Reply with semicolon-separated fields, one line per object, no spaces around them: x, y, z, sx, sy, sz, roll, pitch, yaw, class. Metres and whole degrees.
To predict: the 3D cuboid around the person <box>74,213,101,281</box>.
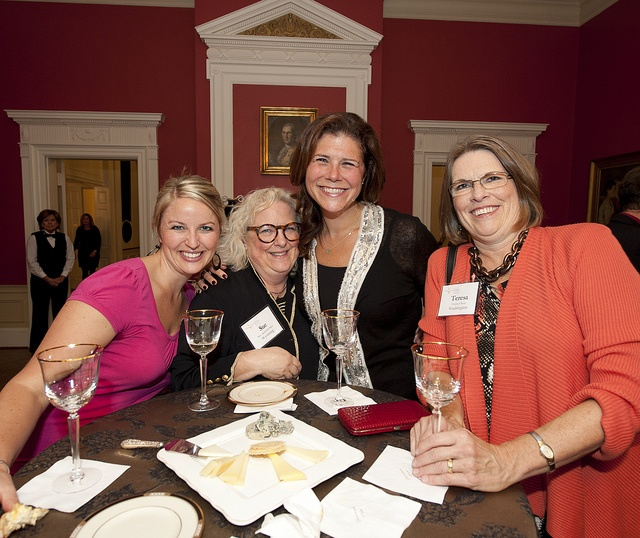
-4.080;-0.269;8.797;0.381;1.386;0.379;-4;18;-28;person

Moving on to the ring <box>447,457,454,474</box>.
0.404;0.622;1.567;0.025;0.032;0.026;2;-13;0;ring

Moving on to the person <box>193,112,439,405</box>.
0.229;0.033;2.910;0.764;1.964;0.510;3;29;13;person

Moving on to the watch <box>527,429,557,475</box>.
0.747;0.635;1.707;0.063;0.124;0.123;-13;54;-16;watch

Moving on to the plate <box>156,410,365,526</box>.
-0.193;0.632;1.629;0.582;0.072;0.422;-10;17;-34;plate

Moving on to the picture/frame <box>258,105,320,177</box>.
-0.396;-1.580;6.227;0.685;0.919;0.066;-2;45;-8;picture/frame
